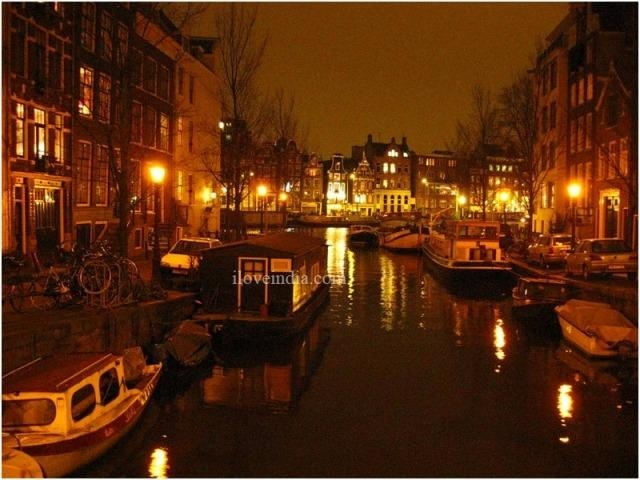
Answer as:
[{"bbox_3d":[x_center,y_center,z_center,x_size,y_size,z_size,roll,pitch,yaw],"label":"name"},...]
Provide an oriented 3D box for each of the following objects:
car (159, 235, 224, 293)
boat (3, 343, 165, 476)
[{"bbox_3d":[-6.527,1.021,28.283,1.827,1.861,3.504,0,-2,6],"label":"car"},{"bbox_3d":[-6.323,4.298,15.825,2.277,2.157,4.380,4,13,17],"label":"boat"}]
